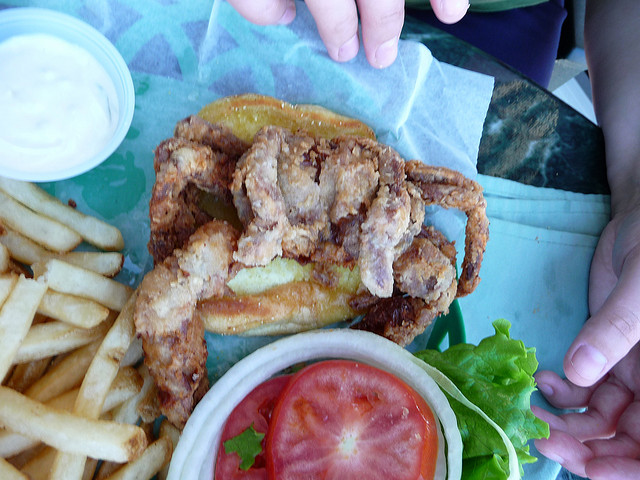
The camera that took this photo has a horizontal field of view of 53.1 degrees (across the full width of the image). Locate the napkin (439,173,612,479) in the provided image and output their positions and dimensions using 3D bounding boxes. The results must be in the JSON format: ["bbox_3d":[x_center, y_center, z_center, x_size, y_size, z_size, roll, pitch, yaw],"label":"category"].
[{"bbox_3d":[1.000,0.425,3.232,0.945,0.333,1.305,6,86,-7],"label":"napkin"}]

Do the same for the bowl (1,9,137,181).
[{"bbox_3d":[-1.069,-0.626,2.721,0.545,0.433,0.747,-16,65,-3],"label":"bowl"}]
